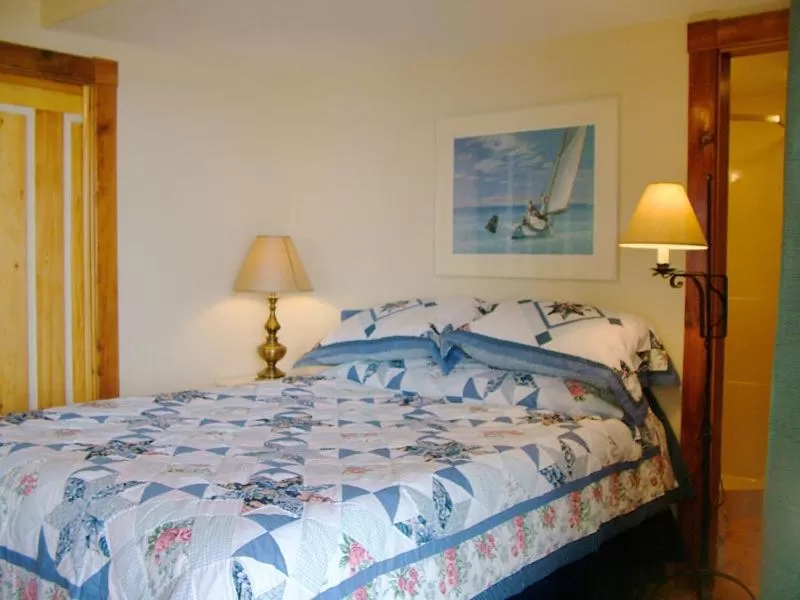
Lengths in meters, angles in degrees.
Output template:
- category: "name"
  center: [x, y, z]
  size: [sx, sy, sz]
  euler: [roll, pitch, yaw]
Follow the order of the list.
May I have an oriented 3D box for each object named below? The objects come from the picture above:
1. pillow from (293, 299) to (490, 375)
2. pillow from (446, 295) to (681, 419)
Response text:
- category: "pillow"
  center: [-0.024, 0.156, 3.211]
  size: [0.616, 0.170, 0.533]
  euler: [-9, 3, 37]
- category: "pillow"
  center: [0.711, 0.186, 2.821]
  size: [0.834, 0.218, 0.536]
  euler: [12, 15, 31]
